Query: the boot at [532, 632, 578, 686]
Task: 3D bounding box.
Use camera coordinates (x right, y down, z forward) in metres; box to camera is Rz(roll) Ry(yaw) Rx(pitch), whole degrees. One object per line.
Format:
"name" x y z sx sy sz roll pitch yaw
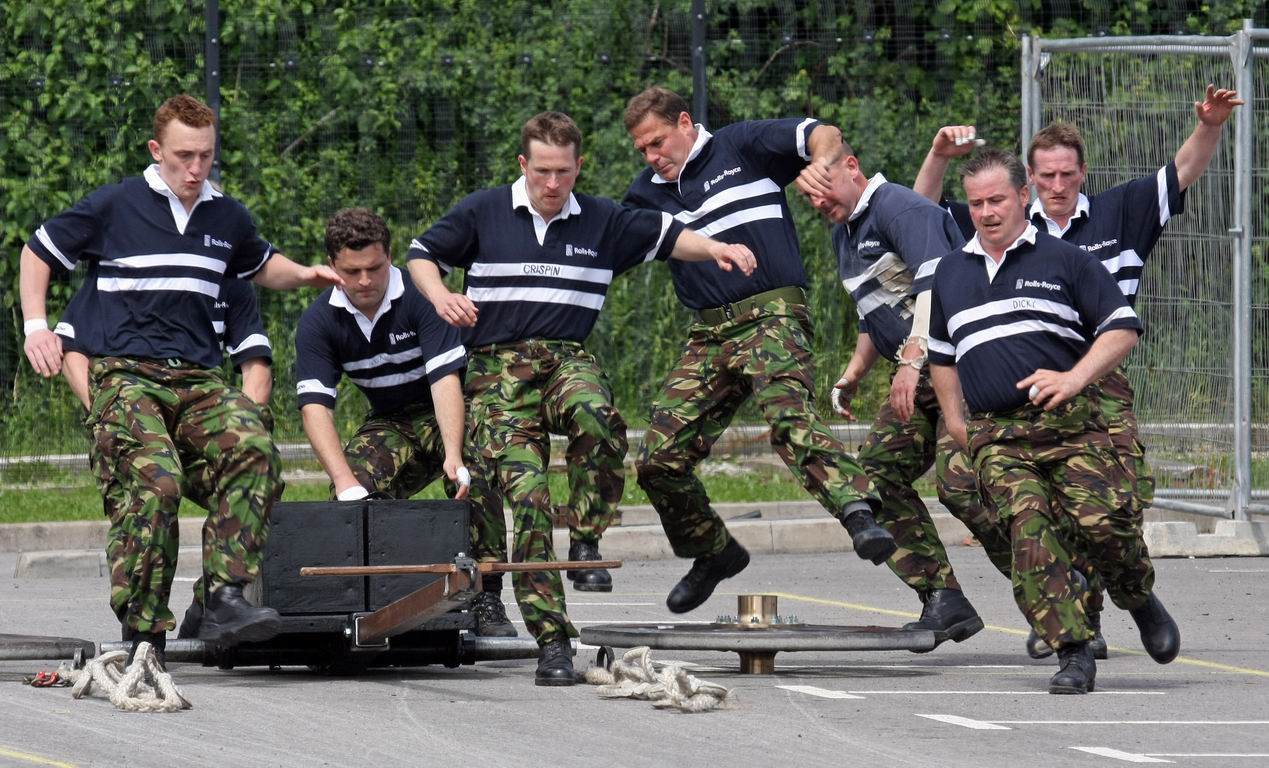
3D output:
"boot" -0.468 1.642 11.828 0.246 0.281 0.254 0 3 -3

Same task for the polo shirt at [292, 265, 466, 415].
"polo shirt" -1.743 -0.229 12.814 1.322 1.164 0.840 -4 6 1

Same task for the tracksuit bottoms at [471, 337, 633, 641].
"tracksuit bottoms" -0.550 0.626 12.249 0.823 1.934 0.582 -8 -7 -21

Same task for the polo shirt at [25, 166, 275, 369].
"polo shirt" -3.191 -0.743 12.942 2.023 1.478 0.798 4 -8 -26

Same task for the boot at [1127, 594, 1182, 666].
"boot" 3.271 1.568 12.505 0.154 0.412 0.280 -29 -31 29

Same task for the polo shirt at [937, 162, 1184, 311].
"polo shirt" 2.698 -0.926 12.588 1.223 0.900 0.300 -3 -2 -3

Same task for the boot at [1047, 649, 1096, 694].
"boot" 2.584 1.672 11.629 0.317 0.276 0.211 0 3 -6

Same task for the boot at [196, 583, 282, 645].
"boot" -2.347 1.326 11.640 0.559 0.396 0.213 -12 -38 28

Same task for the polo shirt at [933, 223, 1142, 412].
"polo shirt" 2.390 -0.369 11.917 1.079 0.854 0.487 -8 -2 32

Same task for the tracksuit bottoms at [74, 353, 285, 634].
"tracksuit bottoms" -2.684 0.661 11.792 1.129 1.597 0.612 0 2 -11

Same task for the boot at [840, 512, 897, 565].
"boot" 1.419 0.953 12.118 0.231 0.156 0.378 -16 43 -11

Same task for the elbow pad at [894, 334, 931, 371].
"elbow pad" 1.788 -0.193 12.675 0.148 0.232 0.097 11 1 21

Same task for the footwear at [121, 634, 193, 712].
"footwear" -2.741 1.644 11.196 0.306 0.216 0.415 -1 20 -26

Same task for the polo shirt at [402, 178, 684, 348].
"polo shirt" -0.551 -0.685 12.383 1.843 1.045 0.511 -1 19 -16

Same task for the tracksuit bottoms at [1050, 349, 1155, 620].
"tracksuit bottoms" 3.009 0.614 12.119 0.864 1.330 0.351 -3 -3 -41

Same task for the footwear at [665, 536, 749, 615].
"footwear" 0.515 1.344 13.771 0.775 0.261 0.360 -38 -13 12

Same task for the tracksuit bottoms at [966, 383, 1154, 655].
"tracksuit bottoms" 2.529 0.659 11.783 0.928 1.584 0.534 -20 5 6
